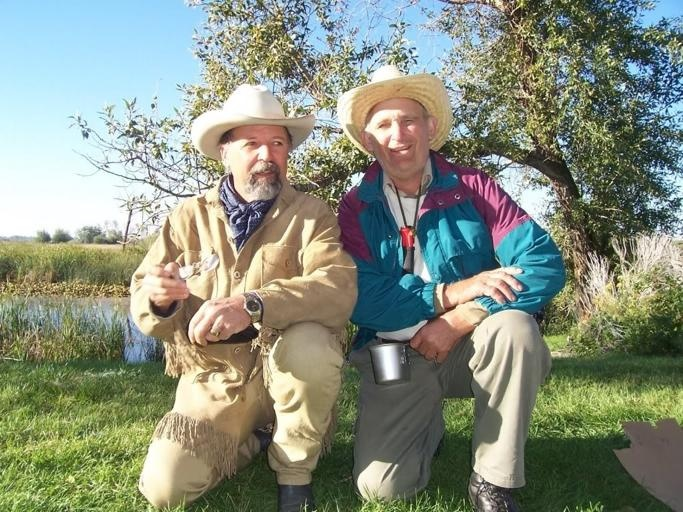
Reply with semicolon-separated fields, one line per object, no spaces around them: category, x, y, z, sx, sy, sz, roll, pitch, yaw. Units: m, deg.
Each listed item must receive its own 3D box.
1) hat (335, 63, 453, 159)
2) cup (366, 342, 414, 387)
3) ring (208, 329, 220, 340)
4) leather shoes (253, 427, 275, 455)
hat;0.588;-1.145;4.560;0.793;0.987;0.397;-8;-37;26
cup;0.351;0.793;3.895;0.286;0.243;0.234;12;-24;-39
ring;-0.827;0.514;3.524;0.054;0.019;0.066;7;-40;11
leather shoes;-0.593;1.392;4.173;0.094;0.280;0.178;-2;-6;44
